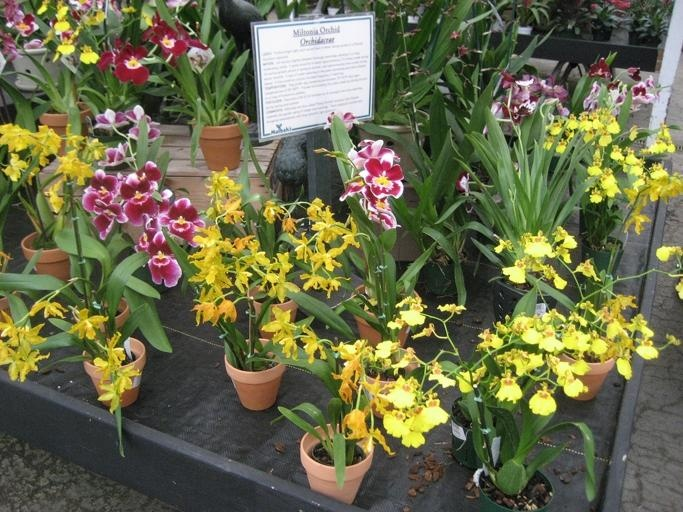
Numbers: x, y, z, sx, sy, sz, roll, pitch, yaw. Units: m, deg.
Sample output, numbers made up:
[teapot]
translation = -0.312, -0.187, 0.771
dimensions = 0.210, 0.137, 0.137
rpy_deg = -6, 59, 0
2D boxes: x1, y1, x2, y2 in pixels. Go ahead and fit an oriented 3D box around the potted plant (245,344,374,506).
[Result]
[potted plant]
translation = -0.100, 0.511, 1.793
dimensions = 0.332, 0.288, 0.369
rpy_deg = 4, 24, 3
